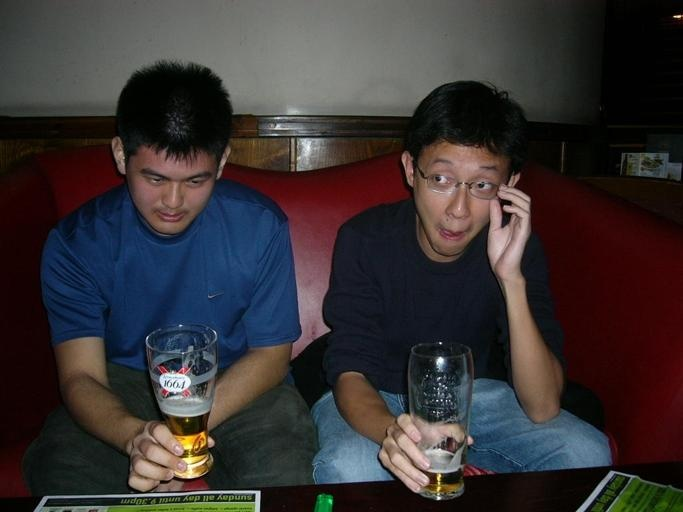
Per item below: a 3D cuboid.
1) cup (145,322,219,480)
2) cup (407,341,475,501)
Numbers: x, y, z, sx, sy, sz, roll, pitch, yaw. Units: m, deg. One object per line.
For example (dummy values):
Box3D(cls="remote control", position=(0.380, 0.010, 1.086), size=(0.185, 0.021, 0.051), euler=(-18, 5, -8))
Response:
Box3D(cls="cup", position=(-0.407, 0.416, 1.453), size=(0.175, 0.430, 0.206), euler=(-7, 14, -21))
Box3D(cls="cup", position=(0.246, 0.425, 1.362), size=(0.155, 0.366, 0.106), euler=(0, 13, 12))
